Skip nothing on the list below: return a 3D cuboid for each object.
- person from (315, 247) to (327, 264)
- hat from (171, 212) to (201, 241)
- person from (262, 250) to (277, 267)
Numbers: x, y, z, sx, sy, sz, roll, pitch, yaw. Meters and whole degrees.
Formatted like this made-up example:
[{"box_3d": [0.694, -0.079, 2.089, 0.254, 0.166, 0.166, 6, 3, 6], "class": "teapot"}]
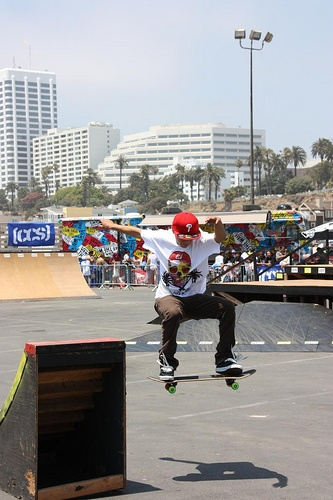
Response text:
[{"box_3d": [3.617, 0.120, 17.210, 0.268, 0.475, 1.902, -1, 4, 12], "class": "person"}, {"box_3d": [0.165, -0.191, 6.040, 0.237, 0.222, 0.282, -2, 4, 2], "class": "hat"}, {"box_3d": [3.510, 0.240, 25.146, 0.689, 0.508, 0.927, -1, 0, 8], "class": "person"}]
